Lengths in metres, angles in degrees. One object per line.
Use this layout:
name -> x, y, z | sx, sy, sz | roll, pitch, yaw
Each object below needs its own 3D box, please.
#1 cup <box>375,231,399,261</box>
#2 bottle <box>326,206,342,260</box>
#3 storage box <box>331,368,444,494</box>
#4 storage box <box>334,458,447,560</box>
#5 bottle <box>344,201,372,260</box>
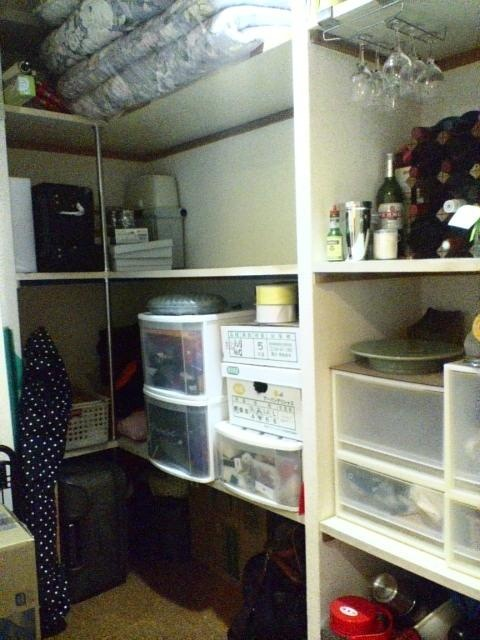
cup -> 0.304, -0.154, 1.129 | 0.063, 0.063, 0.061 | -2, 4, 0
bottle -> 0.203, -0.189, 1.170 | 0.036, 0.119, 0.106 | -1, 11, 9
storage box -> 0.327, 0.182, 1.119 | 0.172, 0.184, 0.299 | -2, 5, -38
storage box -> 0.318, 0.353, 1.098 | 0.133, 0.111, 0.246 | -1, 5, -39
bottle -> 0.249, -0.191, 1.152 | 0.054, 0.121, 0.069 | 0, 11, 13
